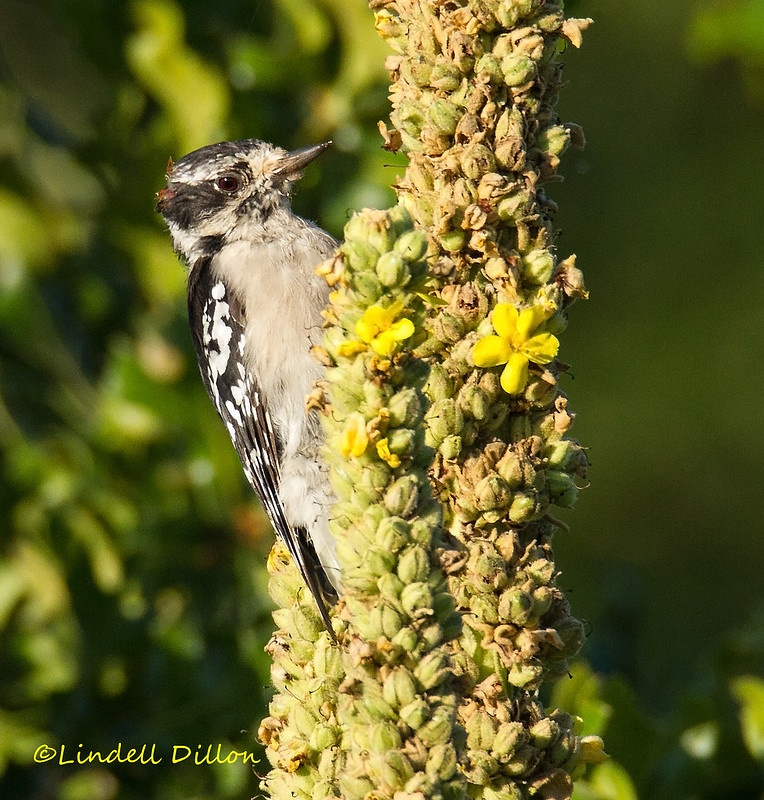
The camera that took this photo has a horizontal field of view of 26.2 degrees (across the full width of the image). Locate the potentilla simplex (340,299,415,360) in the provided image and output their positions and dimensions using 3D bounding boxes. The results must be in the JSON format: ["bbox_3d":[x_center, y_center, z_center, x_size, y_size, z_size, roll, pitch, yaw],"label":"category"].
[{"bbox_3d":[-0.005,-0.120,2.920,0.137,0.068,0.085,-40,66,-13],"label":"potentilla simplex"}]

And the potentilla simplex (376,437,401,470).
[{"bbox_3d":[0.009,0.090,2.906,0.034,0.015,0.056,-16,109,-4],"label":"potentilla simplex"}]

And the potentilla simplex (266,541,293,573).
[{"bbox_3d":[-0.226,0.339,3.592,0.029,0.051,0.062,2,96,22],"label":"potentilla simplex"}]

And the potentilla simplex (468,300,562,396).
[{"bbox_3d":[0.258,-0.112,3.110,0.170,0.168,0.045,-6,26,-21],"label":"potentilla simplex"}]

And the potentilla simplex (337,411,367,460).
[{"bbox_3d":[-0.051,0.060,2.916,0.055,0.054,0.069,-11,63,1],"label":"potentilla simplex"}]

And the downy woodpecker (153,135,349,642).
[{"bbox_3d":[-0.311,-0.159,5.150,0.530,0.893,1.490,-15,63,-1],"label":"downy woodpecker"}]
